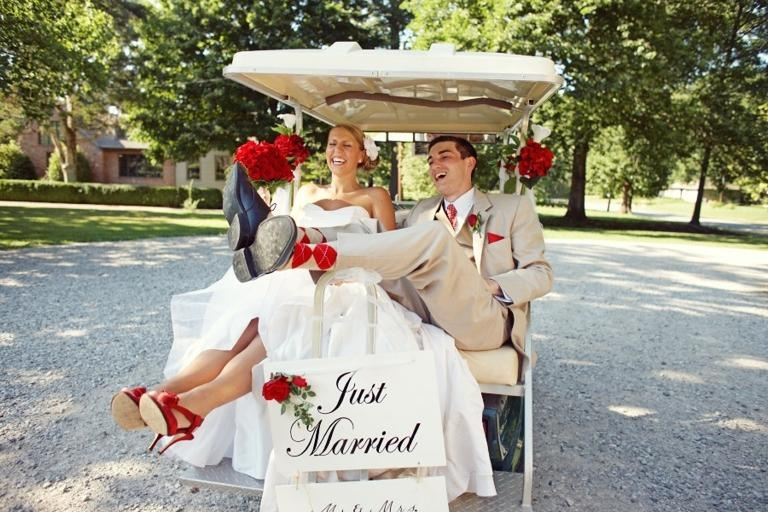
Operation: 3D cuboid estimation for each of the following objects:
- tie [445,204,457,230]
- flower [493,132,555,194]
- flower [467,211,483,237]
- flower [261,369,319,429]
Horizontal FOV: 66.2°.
[{"bbox_3d":[0.690,-0.419,5.990,0.062,0.310,0.077,-6,-21,4],"label":"tie"},{"bbox_3d":[1.415,-0.949,6.153,0.571,0.667,0.621,0,4,-9],"label":"flower"},{"bbox_3d":[0.874,-0.325,5.724,0.072,0.207,0.129,-5,11,-25],"label":"flower"},{"bbox_3d":[-0.735,1.114,4.733,0.421,0.402,0.218,42,-16,-11],"label":"flower"}]
